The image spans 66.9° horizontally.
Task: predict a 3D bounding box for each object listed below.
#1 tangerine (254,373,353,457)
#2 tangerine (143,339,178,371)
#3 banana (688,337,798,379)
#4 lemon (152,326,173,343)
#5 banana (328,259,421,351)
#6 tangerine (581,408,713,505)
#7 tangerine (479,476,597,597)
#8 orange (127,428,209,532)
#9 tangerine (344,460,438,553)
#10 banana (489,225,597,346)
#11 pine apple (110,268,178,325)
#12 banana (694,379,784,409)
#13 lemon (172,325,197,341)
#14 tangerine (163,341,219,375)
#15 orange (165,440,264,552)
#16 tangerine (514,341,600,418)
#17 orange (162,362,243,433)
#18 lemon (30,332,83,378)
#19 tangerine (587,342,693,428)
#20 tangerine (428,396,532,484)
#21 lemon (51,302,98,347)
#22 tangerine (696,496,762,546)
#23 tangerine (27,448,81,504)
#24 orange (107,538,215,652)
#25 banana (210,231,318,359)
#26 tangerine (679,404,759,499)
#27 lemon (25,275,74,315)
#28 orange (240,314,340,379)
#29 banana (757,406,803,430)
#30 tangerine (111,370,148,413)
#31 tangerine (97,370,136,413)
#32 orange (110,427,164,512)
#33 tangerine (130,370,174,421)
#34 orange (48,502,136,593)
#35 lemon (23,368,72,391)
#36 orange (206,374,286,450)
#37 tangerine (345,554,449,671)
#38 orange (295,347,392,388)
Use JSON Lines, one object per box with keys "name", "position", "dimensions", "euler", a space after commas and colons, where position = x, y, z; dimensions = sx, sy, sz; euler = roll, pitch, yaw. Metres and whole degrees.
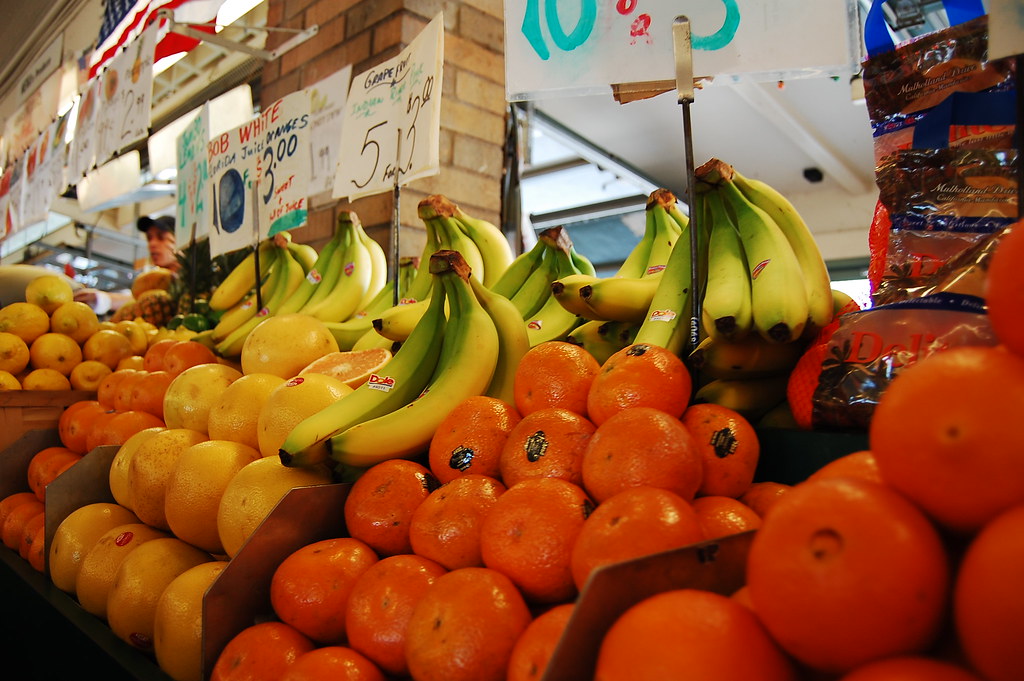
{"name": "tangerine", "position": [-0.490, 0.164, 1.735], "dimensions": [0.180, 0.206, 0.201], "euler": [0, 13, 23]}
{"name": "tangerine", "position": [-1.049, 0.049, 2.312], "dimensions": [0.052, 0.072, 0.054], "euler": [34, 3, 16]}
{"name": "banana", "position": [0.467, 0.040, 1.566], "dimensions": [0.192, 0.107, 0.072], "euler": [-6, -4, 0]}
{"name": "lemon", "position": [-1.301, -0.018, 2.873], "dimensions": [0.042, 0.042, 0.063], "euler": [-16, -6, -20]}
{"name": "banana", "position": [-0.392, -0.096, 2.448], "dimensions": [0.098, 0.223, 0.325], "euler": [-6, -18, 1]}
{"name": "tangerine", "position": [0.213, 0.200, 1.349], "dimensions": [0.169, 0.168, 0.163], "euler": [-35, -9, -24]}
{"name": "tangerine", "position": [0.041, 0.328, 1.373], "dimensions": [0.182, 0.173, 0.170], "euler": [-39, 13, -25]}
{"name": "orange", "position": [-0.782, 0.325, 1.826], "dimensions": [0.182, 0.214, 0.193], "euler": [2, -5, 37]}
{"name": "tangerine", "position": [-0.230, 0.293, 1.527], "dimensions": [0.154, 0.168, 0.157], "euler": [6, 12, 7]}
{"name": "banana", "position": [0.100, -0.136, 2.027], "dimensions": [0.199, 0.342, 0.167], "euler": [30, -7, 21]}
{"name": "pine apple", "position": [-1.683, -0.193, 3.538], "dimensions": [0.253, 0.248, 0.562], "euler": [-6, 7, -27]}
{"name": "banana", "position": [0.477, 0.097, 1.612], "dimensions": [0.139, 0.054, 0.070], "euler": [-7, -3, -20]}
{"name": "lemon", "position": [-1.134, -0.018, 2.683], "dimensions": [0.068, 0.030, 0.073], "euler": [2, 5, -32]}
{"name": "tangerine", "position": [-0.915, 0.050, 2.201], "dimensions": [0.105, 0.115, 0.124], "euler": [11, -17, -15]}
{"name": "orange", "position": [-0.646, 0.357, 1.704], "dimensions": [0.216, 0.226, 0.211], "euler": [-8, -20, -4]}
{"name": "tangerine", "position": [0.089, 0.077, 1.584], "dimensions": [0.145, 0.156, 0.143], "euler": [25, -4, 11]}
{"name": "orange", "position": [-0.783, 0.171, 1.944], "dimensions": [0.180, 0.233, 0.183], "euler": [-5, -8, 4]}
{"name": "lemon", "position": [-1.638, 0.047, 2.822], "dimensions": [0.149, 0.153, 0.157], "euler": [19, 30, -8]}
{"name": "tangerine", "position": [0.238, 0.077, 1.416], "dimensions": [0.149, 0.156, 0.151], "euler": [-8, 2, 1]}
{"name": "tangerine", "position": [-0.075, 0.190, 1.585], "dimensions": [0.154, 0.188, 0.161], "euler": [40, 1, 17]}
{"name": "lemon", "position": [-1.618, -0.053, 2.913], "dimensions": [0.139, 0.160, 0.173], "euler": [-5, -1, 20]}
{"name": "tangerine", "position": [0.363, 0.299, 1.287], "dimensions": [0.086, 0.082, 0.074], "euler": [5, -16, -1]}
{"name": "tangerine", "position": [-1.221, 0.368, 2.069], "dimensions": [0.088, 0.093, 0.093], "euler": [32, 24, 1]}
{"name": "orange", "position": [-0.763, 0.549, 1.638], "dimensions": [0.160, 0.209, 0.176], "euler": [5, -17, -33]}
{"name": "banana", "position": [-0.776, -0.158, 2.471], "dimensions": [0.169, 0.504, 0.232], "euler": [35, -17, -10]}
{"name": "tangerine", "position": [0.365, 0.211, 1.441], "dimensions": [0.131, 0.156, 0.150], "euler": [2, -9, -7]}
{"name": "lemon", "position": [-1.809, -0.175, 3.010], "dimensions": [0.152, 0.170, 0.153], "euler": [-5, 3, -7]}
{"name": "orange", "position": [-0.569, 0.019, 1.988], "dimensions": [0.183, 0.190, 0.171], "euler": [2, 2, -37]}
{"name": "banana", "position": [0.546, 0.160, 1.586], "dimensions": [0.057, 0.035, 0.048], "euler": [-16, 13, -40]}
{"name": "tangerine", "position": [-1.090, 0.140, 2.198], "dimensions": [0.102, 0.082, 0.138], "euler": [-11, -8, -12]}
{"name": "tangerine", "position": [-1.149, 0.154, 2.251], "dimensions": [0.070, 0.089, 0.070], "euler": [36, -28, -28]}
{"name": "orange", "position": [-0.865, 0.308, 1.786], "dimensions": [0.134, 0.174, 0.129], "euler": [13, -14, -16]}
{"name": "tangerine", "position": [-0.994, 0.147, 2.119], "dimensions": [0.115, 0.149, 0.122], "euler": [5, 7, -29]}
{"name": "orange", "position": [-1.031, 0.534, 1.837], "dimensions": [0.156, 0.201, 0.159], "euler": [16, -23, -37]}
{"name": "lemon", "position": [-1.644, 0.142, 2.732], "dimensions": [0.144, 0.071, 0.132], "euler": [-7, 7, -34]}
{"name": "orange", "position": [-0.602, 0.159, 1.782], "dimensions": [0.176, 0.156, 0.162], "euler": [-10, -34, -16]}
{"name": "tangerine", "position": [-0.222, 0.459, 1.385], "dimensions": [0.157, 0.161, 0.165], "euler": [-6, 20, 39]}
{"name": "orange", "position": [-0.384, 0.062, 1.852], "dimensions": [0.133, 0.051, 0.125], "euler": [-16, 26, 22]}
